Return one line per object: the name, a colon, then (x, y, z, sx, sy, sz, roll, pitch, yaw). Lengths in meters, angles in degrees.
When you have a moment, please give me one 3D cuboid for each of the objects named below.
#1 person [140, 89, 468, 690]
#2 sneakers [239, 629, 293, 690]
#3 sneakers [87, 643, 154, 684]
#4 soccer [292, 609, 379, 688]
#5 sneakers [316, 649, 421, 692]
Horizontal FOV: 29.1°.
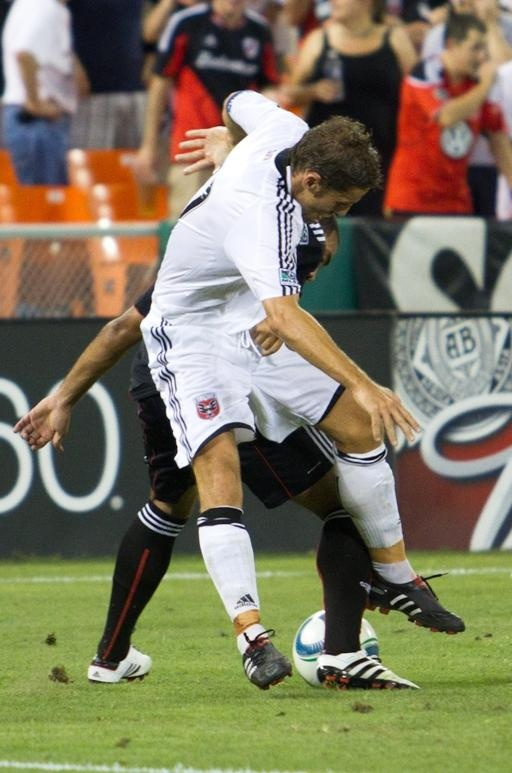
person: (0.104, 0.020, 2.500, 0.651, 1.297, 1.150, -8, 31, -17)
sneakers: (0.017, 0.607, 2.221, 0.073, 0.091, 0.175, -38, 18, -3)
sneakers: (-0.354, 0.744, 2.637, 0.201, 0.081, 0.069, -7, 12, -29)
soccer: (0.192, 0.684, 2.648, 0.203, 0.180, 0.217, 28, -4, 3)
sneakers: (0.274, 0.716, 2.479, 0.263, 0.092, 0.094, 4, 71, 4)
